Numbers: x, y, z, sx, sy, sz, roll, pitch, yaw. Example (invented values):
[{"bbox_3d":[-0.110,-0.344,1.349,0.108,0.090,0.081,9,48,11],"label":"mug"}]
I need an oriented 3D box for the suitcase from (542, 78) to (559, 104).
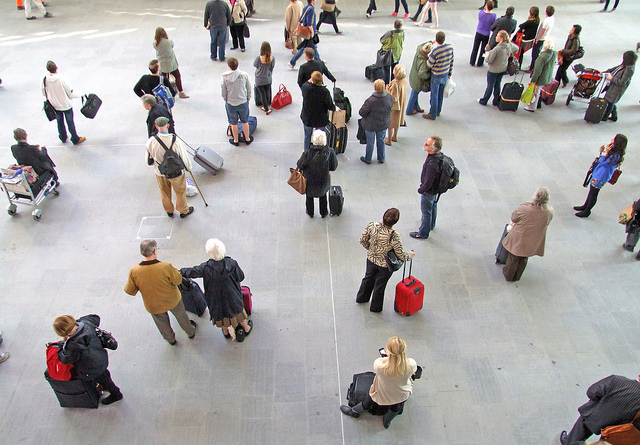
[{"bbox_3d":[5.652,-3.276,11.542,0.307,0.599,0.390,6,38,6],"label":"suitcase"}]

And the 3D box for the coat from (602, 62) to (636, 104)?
[{"bbox_3d":[6.805,-3.196,10.671,0.359,0.848,0.308,22,41,25],"label":"coat"}]

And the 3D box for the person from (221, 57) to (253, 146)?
[{"bbox_3d":[-1.746,-2.566,9.907,0.593,1.780,0.476,-4,37,-8],"label":"person"}]

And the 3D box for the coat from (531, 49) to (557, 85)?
[{"bbox_3d":[5.214,-3.635,10.884,0.438,0.848,0.246,8,37,8],"label":"coat"}]

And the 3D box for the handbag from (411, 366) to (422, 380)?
[{"bbox_3d":[1.266,1.980,6.165,0.112,0.061,0.163,2,75,-5],"label":"handbag"}]

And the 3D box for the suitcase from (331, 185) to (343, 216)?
[{"bbox_3d":[0.307,-0.413,8.766,0.196,0.486,0.283,-3,60,0],"label":"suitcase"}]

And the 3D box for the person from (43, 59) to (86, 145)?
[{"bbox_3d":[-5.419,-2.538,9.882,0.534,1.716,0.614,-26,44,-32],"label":"person"}]

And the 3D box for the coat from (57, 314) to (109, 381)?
[{"bbox_3d":[-3.154,1.681,6.192,0.442,0.638,0.641,18,49,15],"label":"coat"}]

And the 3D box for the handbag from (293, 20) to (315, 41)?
[{"bbox_3d":[-0.415,-5.126,12.352,0.600,0.675,0.308,10,49,5],"label":"handbag"}]

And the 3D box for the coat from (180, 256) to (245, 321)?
[{"bbox_3d":[-1.561,1.025,6.858,0.954,1.122,0.459,-8,26,-14],"label":"coat"}]

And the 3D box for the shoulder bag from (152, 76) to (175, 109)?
[{"bbox_3d":[-3.277,-2.629,9.734,0.366,0.673,0.840,-9,38,-14],"label":"shoulder bag"}]

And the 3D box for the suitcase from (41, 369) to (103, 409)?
[{"bbox_3d":[-3.454,2.277,6.631,0.555,0.692,0.409,4,37,3],"label":"suitcase"}]

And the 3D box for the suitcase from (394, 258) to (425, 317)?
[{"bbox_3d":[1.455,1.086,7.425,0.498,0.750,0.443,12,38,14],"label":"suitcase"}]

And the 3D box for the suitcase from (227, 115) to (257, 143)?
[{"bbox_3d":[-1.670,-2.097,10.546,0.496,0.216,0.658,26,57,15],"label":"suitcase"}]

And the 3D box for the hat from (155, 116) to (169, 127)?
[{"bbox_3d":[-2.719,-1.769,8.079,0.140,0.111,0.202,-2,53,-7],"label":"hat"}]

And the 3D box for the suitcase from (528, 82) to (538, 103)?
[{"bbox_3d":[5.147,-3.129,11.227,0.126,0.459,0.085,21,40,24],"label":"suitcase"}]

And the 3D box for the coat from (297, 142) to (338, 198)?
[{"bbox_3d":[-0.058,-0.805,8.488,0.741,1.466,0.476,-2,33,-11],"label":"coat"}]

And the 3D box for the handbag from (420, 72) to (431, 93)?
[{"bbox_3d":[2.430,-3.233,10.836,0.284,0.208,0.376,0,-7,9],"label":"handbag"}]

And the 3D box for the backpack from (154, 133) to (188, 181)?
[{"bbox_3d":[-2.680,-1.179,8.370,0.546,0.725,0.456,-12,6,-35],"label":"backpack"}]

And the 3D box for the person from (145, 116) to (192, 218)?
[{"bbox_3d":[-2.780,-1.018,8.599,0.734,1.939,0.513,2,38,-5],"label":"person"}]

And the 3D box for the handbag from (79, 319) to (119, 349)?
[{"bbox_3d":[-3.041,1.525,6.454,0.392,0.384,0.254,-17,51,18],"label":"handbag"}]

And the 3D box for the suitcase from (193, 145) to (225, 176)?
[{"bbox_3d":[-2.263,-1.315,9.526,0.593,0.233,0.437,44,58,-4],"label":"suitcase"}]

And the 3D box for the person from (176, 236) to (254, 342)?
[{"bbox_3d":[-1.609,0.962,7.061,1.071,1.912,0.766,-5,39,-3],"label":"person"}]

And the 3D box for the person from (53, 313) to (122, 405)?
[{"bbox_3d":[-3.192,1.922,6.394,0.454,1.203,0.540,17,61,5],"label":"person"}]

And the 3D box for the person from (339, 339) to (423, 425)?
[{"bbox_3d":[0.812,2.135,6.325,0.839,1.572,0.673,12,39,5],"label":"person"}]

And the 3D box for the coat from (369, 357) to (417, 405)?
[{"bbox_3d":[0.947,1.996,6.122,0.566,0.680,0.374,0,20,-5],"label":"coat"}]

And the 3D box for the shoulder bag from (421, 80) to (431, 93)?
[{"bbox_3d":[2.451,-3.183,10.869,0.249,0.363,0.190,-1,63,4],"label":"shoulder bag"}]

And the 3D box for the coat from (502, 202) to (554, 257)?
[{"bbox_3d":[3.453,0.135,7.727,0.733,0.944,0.540,5,38,8],"label":"coat"}]

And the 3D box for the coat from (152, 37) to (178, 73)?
[{"bbox_3d":[-3.599,-3.950,10.933,0.425,0.794,0.231,-13,39,-20],"label":"coat"}]

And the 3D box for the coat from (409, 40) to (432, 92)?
[{"bbox_3d":[2.281,-3.585,10.736,0.309,1.117,0.557,-10,38,-16],"label":"coat"}]

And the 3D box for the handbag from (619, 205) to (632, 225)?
[{"bbox_3d":[5.373,-0.139,8.255,0.188,0.311,0.113,30,11,18],"label":"handbag"}]

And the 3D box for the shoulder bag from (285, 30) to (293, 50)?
[{"bbox_3d":[-0.895,-5.174,13.320,0.209,0.471,0.365,-1,37,-5],"label":"shoulder bag"}]

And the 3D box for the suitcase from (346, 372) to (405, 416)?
[{"bbox_3d":[0.648,2.343,6.597,0.485,0.195,0.508,-13,33,6],"label":"suitcase"}]

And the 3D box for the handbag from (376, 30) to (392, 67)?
[{"bbox_3d":[1.588,-4.269,11.630,0.318,0.593,0.528,2,34,2],"label":"handbag"}]

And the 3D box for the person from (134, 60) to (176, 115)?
[{"bbox_3d":[-3.303,-2.849,9.679,0.808,0.966,0.854,-24,44,-31],"label":"person"}]

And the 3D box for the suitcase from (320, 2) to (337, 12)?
[{"bbox_3d":[0.235,-6.317,13.817,0.259,0.353,0.305,10,13,30],"label":"suitcase"}]

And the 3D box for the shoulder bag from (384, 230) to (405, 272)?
[{"bbox_3d":[1.097,0.432,7.006,0.234,0.564,0.531,-7,18,18],"label":"shoulder bag"}]

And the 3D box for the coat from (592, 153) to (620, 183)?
[{"bbox_3d":[5.202,-1.018,8.675,0.345,0.633,0.476,13,7,32],"label":"coat"}]

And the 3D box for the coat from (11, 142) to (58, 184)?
[{"bbox_3d":[-5.411,-1.117,8.876,0.563,0.924,0.380,-19,41,-26],"label":"coat"}]

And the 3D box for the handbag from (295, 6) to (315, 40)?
[{"bbox_3d":[-0.386,-5.183,12.205,0.439,0.756,0.248,20,5,21],"label":"handbag"}]

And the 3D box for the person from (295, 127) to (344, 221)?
[{"bbox_3d":[-0.061,-0.850,8.439,0.690,1.708,0.463,0,36,-3],"label":"person"}]

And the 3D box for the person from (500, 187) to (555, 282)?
[{"bbox_3d":[3.434,0.157,7.768,0.709,1.660,0.613,6,31,-1],"label":"person"}]

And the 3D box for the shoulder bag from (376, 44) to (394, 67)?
[{"bbox_3d":[1.631,-4.160,11.623,0.345,0.551,0.557,-12,50,-12],"label":"shoulder bag"}]

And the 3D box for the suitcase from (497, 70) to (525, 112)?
[{"bbox_3d":[4.615,-3.061,11.331,0.496,0.635,0.317,9,37,9],"label":"suitcase"}]

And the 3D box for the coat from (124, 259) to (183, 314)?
[{"bbox_3d":[-2.410,0.846,6.801,0.799,0.875,0.502,-8,30,-14],"label":"coat"}]

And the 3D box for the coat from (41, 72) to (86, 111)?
[{"bbox_3d":[-5.412,-2.769,9.762,0.651,0.772,0.264,-14,39,-21],"label":"coat"}]

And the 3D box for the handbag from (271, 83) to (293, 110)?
[{"bbox_3d":[-0.943,-3.101,11.502,0.241,0.594,0.612,21,47,36],"label":"handbag"}]

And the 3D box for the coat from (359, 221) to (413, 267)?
[{"bbox_3d":[1.012,0.356,7.338,0.393,0.781,0.276,40,76,14],"label":"coat"}]

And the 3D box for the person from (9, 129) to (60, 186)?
[{"bbox_3d":[-5.402,-1.094,8.899,0.557,1.059,0.361,-21,42,-28],"label":"person"}]

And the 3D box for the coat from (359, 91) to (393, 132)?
[{"bbox_3d":[1.161,-2.294,9.357,0.700,0.806,0.503,-13,44,-15],"label":"coat"}]

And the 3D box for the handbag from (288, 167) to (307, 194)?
[{"bbox_3d":[-0.405,-0.764,8.443,0.368,0.465,0.125,38,44,15],"label":"handbag"}]

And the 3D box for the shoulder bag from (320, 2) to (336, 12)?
[{"bbox_3d":[0.240,-6.364,13.806,0.262,0.356,0.308,7,13,28],"label":"shoulder bag"}]

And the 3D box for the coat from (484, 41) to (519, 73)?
[{"bbox_3d":[4.248,-3.958,10.962,0.681,0.622,0.407,-3,39,7],"label":"coat"}]

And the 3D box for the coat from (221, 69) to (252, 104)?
[{"bbox_3d":[-1.768,-2.854,9.822,0.670,0.737,0.428,-10,35,-13],"label":"coat"}]

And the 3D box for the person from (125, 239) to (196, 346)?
[{"bbox_3d":[-2.395,1.053,6.981,0.788,1.973,0.604,-13,39,-15],"label":"person"}]

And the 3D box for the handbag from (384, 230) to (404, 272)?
[{"bbox_3d":[1.094,0.428,6.996,0.260,0.638,0.543,-9,11,17],"label":"handbag"}]

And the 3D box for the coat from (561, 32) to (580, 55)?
[{"bbox_3d":[6.306,-4.527,11.687,0.347,0.474,0.431,20,40,22],"label":"coat"}]
